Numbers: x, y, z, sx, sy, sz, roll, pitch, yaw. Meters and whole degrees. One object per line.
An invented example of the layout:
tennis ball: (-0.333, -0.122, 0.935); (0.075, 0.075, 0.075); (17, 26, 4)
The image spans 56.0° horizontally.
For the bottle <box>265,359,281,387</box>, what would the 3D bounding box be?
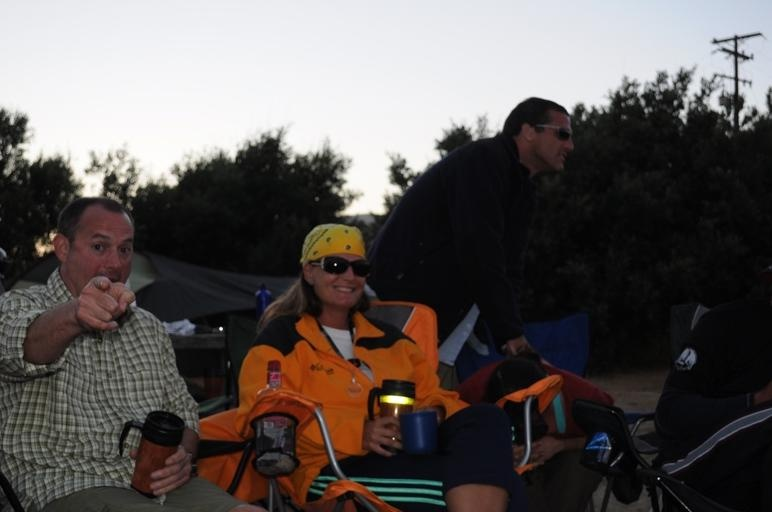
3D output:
bottle: (-0.584, 0.615, 3.775); (0.088, 0.197, 0.100); (1, -13, 0)

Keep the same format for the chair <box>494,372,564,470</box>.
chair: (0.813, 0.950, 4.152); (0.406, 0.617, 0.452); (3, -9, -6)

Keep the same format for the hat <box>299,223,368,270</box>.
hat: (-0.315, -0.061, 4.303); (0.296, 0.208, 0.234); (-16, -15, 32)

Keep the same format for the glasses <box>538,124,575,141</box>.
glasses: (1.128, -0.834, 4.835); (0.152, 0.056, 0.120); (20, 7, 37)

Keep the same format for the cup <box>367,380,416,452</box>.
cup: (0.018, 0.849, 3.872); (0.229, 0.381, 0.200); (6, -12, -7)

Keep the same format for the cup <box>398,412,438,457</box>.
cup: (0.174, 0.936, 3.843); (0.200, 0.235, 0.198); (-6, -3, 0)
